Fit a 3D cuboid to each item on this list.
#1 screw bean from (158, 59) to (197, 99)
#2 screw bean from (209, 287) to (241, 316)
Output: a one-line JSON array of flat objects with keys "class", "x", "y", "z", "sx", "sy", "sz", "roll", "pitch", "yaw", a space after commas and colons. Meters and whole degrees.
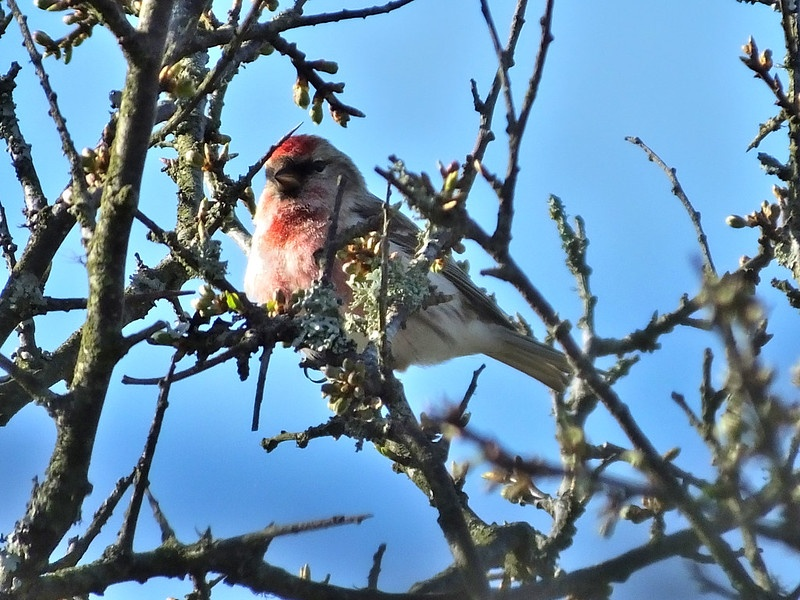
[{"class": "screw bean", "x": -0.833, "y": -0.819, "z": 4.774, "sx": 0.123, "sy": 0.168, "sz": 0.060, "roll": 39, "pitch": -60, "yaw": -13}, {"class": "screw bean", "x": -0.584, "y": 0.001, "z": 4.235, "sx": 0.115, "sy": 0.045, "sz": 0.109, "roll": -12, "pitch": -79, "yaw": 5}]
